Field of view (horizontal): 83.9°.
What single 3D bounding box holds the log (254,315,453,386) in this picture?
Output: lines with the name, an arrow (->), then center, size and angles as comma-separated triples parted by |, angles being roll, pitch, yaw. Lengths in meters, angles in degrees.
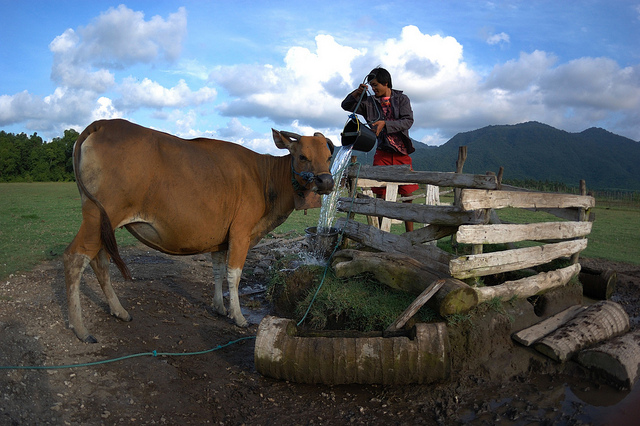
log -> 0.533, 2.110, 5.429 | 2.709, 0.955, 0.868 | -2, 6, 8

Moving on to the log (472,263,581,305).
log -> 3.917, 1.334, 6.641 | 3.290, 0.555, 0.279 | -6, 14, -30

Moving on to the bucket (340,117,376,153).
bucket -> 0.706, -1.496, 6.962 | 0.616, 0.622, 0.602 | 1, 13, 0

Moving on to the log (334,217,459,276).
log -> 1.281, 0.604, 7.099 | 2.948, 0.681, 0.511 | 21, 32, 41

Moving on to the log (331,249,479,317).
log -> 1.366, 1.146, 6.594 | 0.866, 0.681, 2.848 | 19, -7, -37
